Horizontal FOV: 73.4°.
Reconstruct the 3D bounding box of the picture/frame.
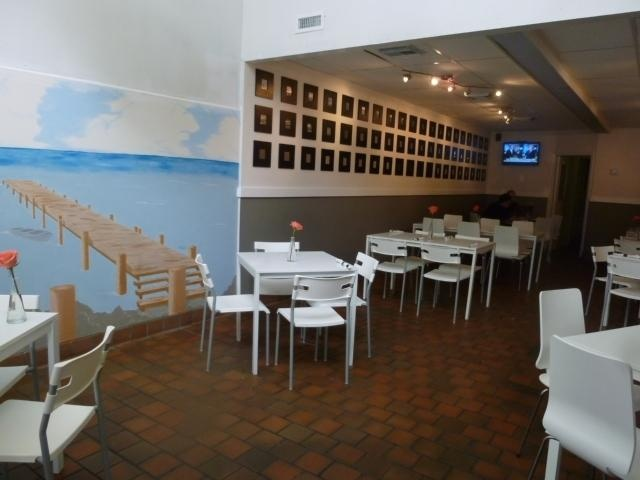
[{"bbox_3d":[0.737,-1.716,7.166,0.076,1.417,4.805,12,14,41],"label":"picture/frame"}]
